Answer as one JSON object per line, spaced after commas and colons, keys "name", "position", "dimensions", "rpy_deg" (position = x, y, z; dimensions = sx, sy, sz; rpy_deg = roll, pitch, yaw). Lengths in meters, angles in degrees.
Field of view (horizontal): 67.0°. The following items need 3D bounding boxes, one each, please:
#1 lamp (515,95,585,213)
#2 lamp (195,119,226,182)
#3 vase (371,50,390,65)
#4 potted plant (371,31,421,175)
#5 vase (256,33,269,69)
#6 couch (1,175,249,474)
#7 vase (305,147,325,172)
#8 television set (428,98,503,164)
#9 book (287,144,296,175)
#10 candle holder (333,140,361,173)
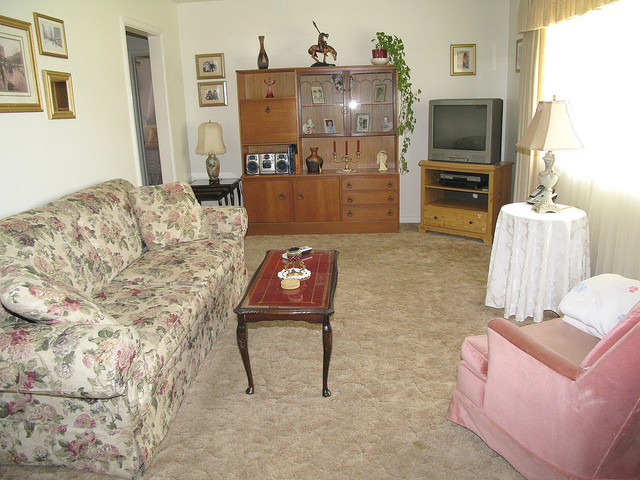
{"name": "lamp", "position": [1.668, -0.625, 3.544], "dimensions": [0.398, 0.796, 0.403], "rpy_deg": [0, 14, 9]}
{"name": "lamp", "position": [-1.280, -1.032, 5.714], "dimensions": [0.315, 0.699, 0.341], "rpy_deg": [-5, 17, -13]}
{"name": "vase", "position": [0.689, -2.095, 5.550], "dimensions": [0.159, 0.125, 0.165], "rpy_deg": [-4, 17, -17]}
{"name": "potted plant", "position": [0.921, -1.615, 5.857], "dimensions": [0.564, 1.696, 0.491], "rpy_deg": [2, 17, 12]}
{"name": "vase", "position": [-0.678, -2.280, 5.812], "dimensions": [0.137, 0.436, 0.394], "rpy_deg": [-3, 17, -6]}
{"name": "couch", "position": [-1.150, 0.512, 2.816], "dimensions": [0.678, 0.691, 1.551], "rpy_deg": [2, 23, 2]}
{"name": "vase", "position": [-0.057, -0.981, 5.934], "dimensions": [0.262, 0.355, 0.263], "rpy_deg": [0, 5, 1]}
{"name": "television set", "position": [1.718, -1.268, 5.651], "dimensions": [0.800, 0.749, 0.433], "rpy_deg": [15, 25, 41]}
{"name": "book", "position": [-0.358, -0.988, 5.905], "dimensions": [0.060, 0.276, 0.203], "rpy_deg": [1, 3, -8]}
{"name": "candle holder", "position": [0.343, -1.055, 6.057], "dimensions": [0.349, 0.369, 0.318], "rpy_deg": [-1, 17, 2]}
